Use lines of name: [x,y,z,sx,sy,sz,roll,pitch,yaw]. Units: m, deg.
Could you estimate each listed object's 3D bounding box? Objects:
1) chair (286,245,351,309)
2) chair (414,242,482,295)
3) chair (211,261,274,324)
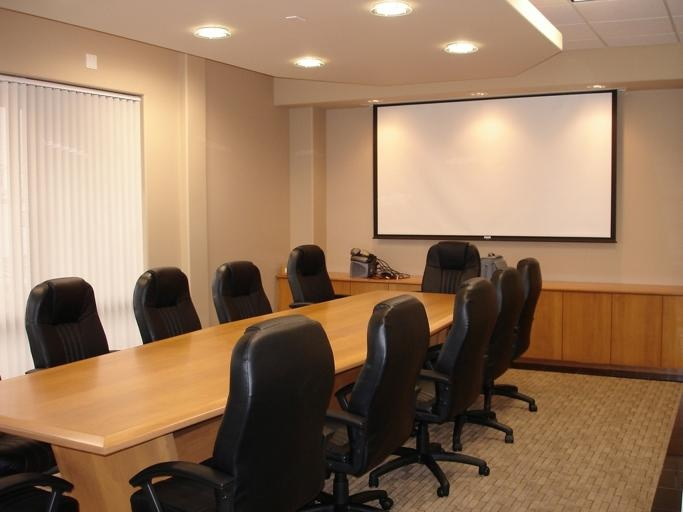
chair: [-0.333,0.195,5.541,0.558,0.745,0.519,0,7,37]
chair: [1.246,0.115,6.273,0.530,0.809,0.631,2,4,22]
chair: [-0.882,0.273,4.716,0.534,0.687,0.461,4,7,42]
